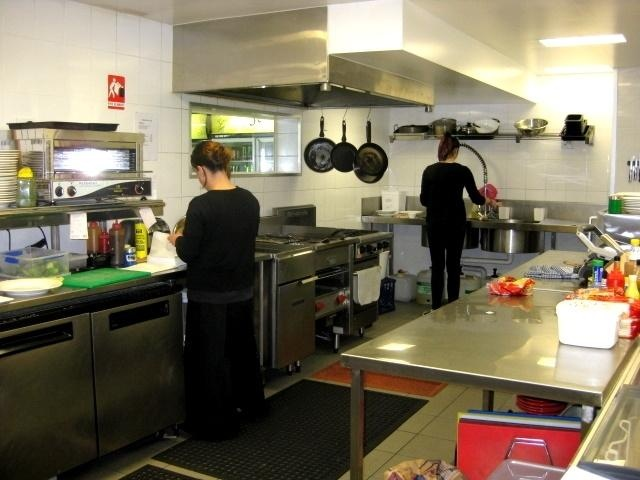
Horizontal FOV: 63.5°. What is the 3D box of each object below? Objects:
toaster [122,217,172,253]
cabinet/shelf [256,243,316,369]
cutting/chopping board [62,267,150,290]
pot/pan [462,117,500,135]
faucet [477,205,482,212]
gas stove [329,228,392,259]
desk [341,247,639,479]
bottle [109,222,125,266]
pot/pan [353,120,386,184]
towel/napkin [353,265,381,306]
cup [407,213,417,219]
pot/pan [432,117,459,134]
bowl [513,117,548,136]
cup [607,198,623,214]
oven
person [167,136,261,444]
[{"bbox_3d":[-1.250,-0.065,3.671,0.279,0.312,0.355,-1,0,-5],"label":"toaster"},{"bbox_3d":[-0.287,0.522,4.105,0.274,0.910,0.618,4,10,23],"label":"cabinet/shelf"},{"bbox_3d":[-1.315,0.219,3.066,0.397,0.035,0.488,6,10,31],"label":"cutting/chopping board"},{"bbox_3d":[1.958,-1.345,6.138,0.335,0.109,0.270,-14,19,-38],"label":"pot/pan"},{"bbox_3d":[1.908,-0.382,6.212,0.071,0.086,0.033,4,2,-13],"label":"faucet"},{"bbox_3d":[0.418,0.014,5.006,0.402,0.132,0.366,-6,8,-40],"label":"gas stove"},{"bbox_3d":[0.805,0.659,2.239,0.879,0.543,1.210,7,11,38],"label":"desk"},{"bbox_3d":[-1.344,0.027,3.419,0.094,0.283,0.154,-3,10,-22],"label":"bottle"},{"bbox_3d":[0.476,-0.860,5.131,0.291,0.586,0.500,-3,9,-17],"label":"pot/pan"},{"bbox_3d":[0.428,0.423,4.887,0.061,0.255,0.421,0,4,31],"label":"towel/napkin"},{"bbox_3d":[1.117,-0.291,6.264,0.082,0.049,0.080,-1,4,0],"label":"cup"},{"bbox_3d":[1.498,-1.373,6.199,0.286,0.123,0.356,-3,3,4],"label":"pot/pan"},{"bbox_3d":[2.527,-1.339,6.098,0.415,0.214,0.246,-5,10,-30],"label":"bowl"},{"bbox_3d":[2.057,-0.239,3.627,0.120,0.121,0.114,-1,5,0],"label":"cup"},{"bbox_3d":[-1.293,-0.426,3.250,0.620,0.344,0.328,-5,4,10],"label":"oven"},{"bbox_3d":[-0.627,0.463,3.280,0.518,1.578,0.283,-1,9,-8],"label":"person"}]
